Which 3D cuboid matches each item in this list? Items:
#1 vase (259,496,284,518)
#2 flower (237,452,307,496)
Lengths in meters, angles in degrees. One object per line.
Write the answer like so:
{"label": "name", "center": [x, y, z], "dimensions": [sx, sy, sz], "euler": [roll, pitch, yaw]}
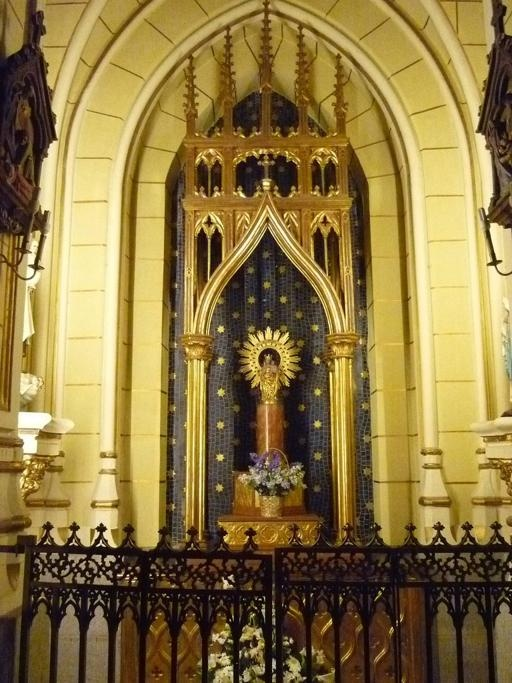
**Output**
{"label": "vase", "center": [0.144, 1.497, 7.890], "dimensions": [0.171, 0.137, 0.182], "euler": [0, -15, 1]}
{"label": "flower", "center": [0.210, 1.224, 8.018], "dimensions": [0.452, 0.349, 0.454], "euler": [7, -7, -33]}
